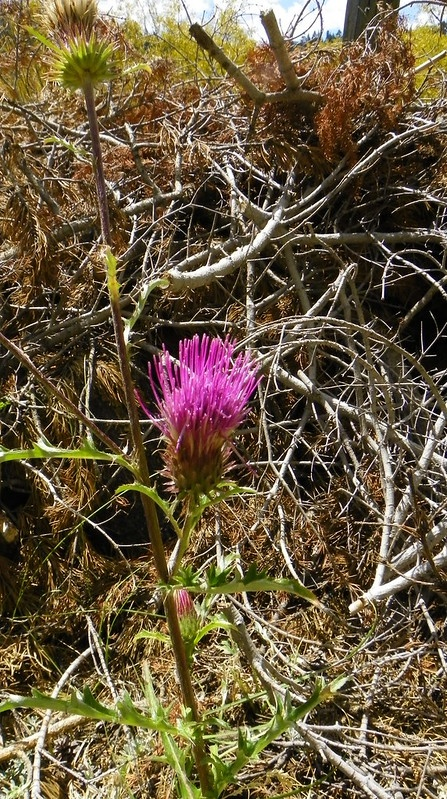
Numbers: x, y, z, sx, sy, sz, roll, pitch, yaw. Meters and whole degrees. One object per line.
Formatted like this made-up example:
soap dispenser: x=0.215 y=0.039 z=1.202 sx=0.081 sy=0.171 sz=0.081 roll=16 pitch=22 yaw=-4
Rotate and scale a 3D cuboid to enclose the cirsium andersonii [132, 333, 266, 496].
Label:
cirsium andersonii: x=-0.050 y=0.000 z=1.142 sx=0.229 sy=0.312 sz=0.220 roll=-8 pitch=19 yaw=-35
